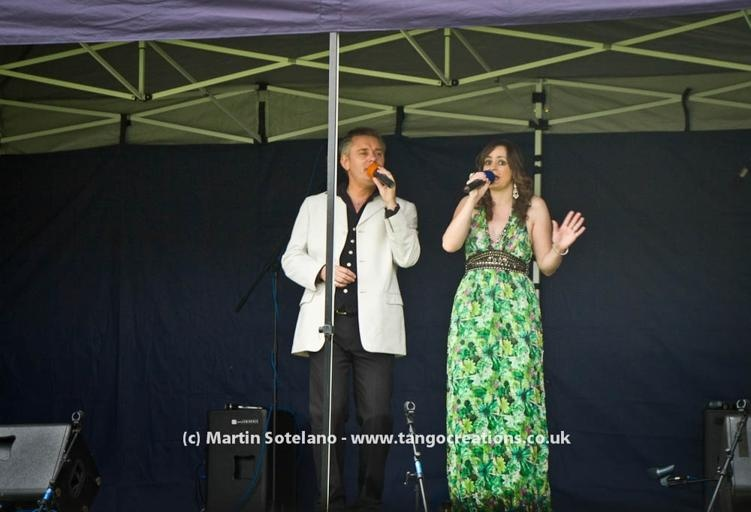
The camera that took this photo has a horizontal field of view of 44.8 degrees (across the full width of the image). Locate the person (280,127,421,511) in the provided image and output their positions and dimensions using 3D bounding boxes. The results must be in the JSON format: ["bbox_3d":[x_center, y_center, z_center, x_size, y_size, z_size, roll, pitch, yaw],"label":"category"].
[{"bbox_3d":[-0.152,0.391,5.865,0.880,2.456,0.314,2,-12,-7],"label":"person"}]

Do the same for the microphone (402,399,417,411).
[{"bbox_3d":[0.211,0.965,5.800,0.058,0.081,0.097,-14,26,3],"label":"microphone"}]

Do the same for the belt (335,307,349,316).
[{"bbox_3d":[-0.220,0.365,5.862,0.042,0.036,0.099,4,6,-18],"label":"belt"}]

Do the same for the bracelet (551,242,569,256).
[{"bbox_3d":[1.176,-0.037,5.801,0.065,0.036,0.079,5,-24,1],"label":"bracelet"}]

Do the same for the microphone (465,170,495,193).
[{"bbox_3d":[0.670,-0.472,5.892,0.228,0.093,0.095,-32,-42,-15],"label":"microphone"}]

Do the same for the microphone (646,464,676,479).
[{"bbox_3d":[1.745,1.335,5.583,0.193,0.065,0.076,-12,-5,22],"label":"microphone"}]

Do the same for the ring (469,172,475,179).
[{"bbox_3d":[0.619,-0.515,5.905,0.029,0.042,0.017,-2,-16,25],"label":"ring"}]

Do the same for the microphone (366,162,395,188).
[{"bbox_3d":[0.020,-0.522,6.001,0.226,0.103,0.102,38,13,33],"label":"microphone"}]
